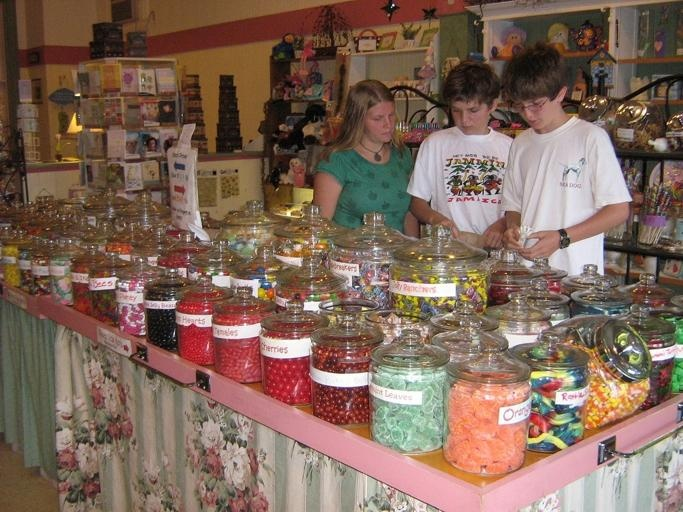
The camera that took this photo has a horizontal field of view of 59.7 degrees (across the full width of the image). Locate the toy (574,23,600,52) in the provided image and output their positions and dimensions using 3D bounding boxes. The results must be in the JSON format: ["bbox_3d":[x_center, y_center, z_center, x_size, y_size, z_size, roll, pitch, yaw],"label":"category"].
[{"bbox_3d":[2.214,-1.954,5.344,0.240,0.343,0.230,4,15,20],"label":"toy"}]

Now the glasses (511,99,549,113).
[{"bbox_3d":[0.856,-0.697,2.792,0.114,0.053,0.244,-4,8,-20],"label":"glasses"}]

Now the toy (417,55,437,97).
[{"bbox_3d":[0.935,-1.926,6.380,0.185,0.389,0.209,-1,12,-36],"label":"toy"}]

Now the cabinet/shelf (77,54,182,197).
[{"bbox_3d":[-1.963,-1.150,5.607,0.662,1.290,0.740,18,21,40],"label":"cabinet/shelf"}]

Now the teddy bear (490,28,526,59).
[{"bbox_3d":[1.625,-2.048,5.732,0.319,0.321,0.260,10,11,34],"label":"teddy bear"}]
